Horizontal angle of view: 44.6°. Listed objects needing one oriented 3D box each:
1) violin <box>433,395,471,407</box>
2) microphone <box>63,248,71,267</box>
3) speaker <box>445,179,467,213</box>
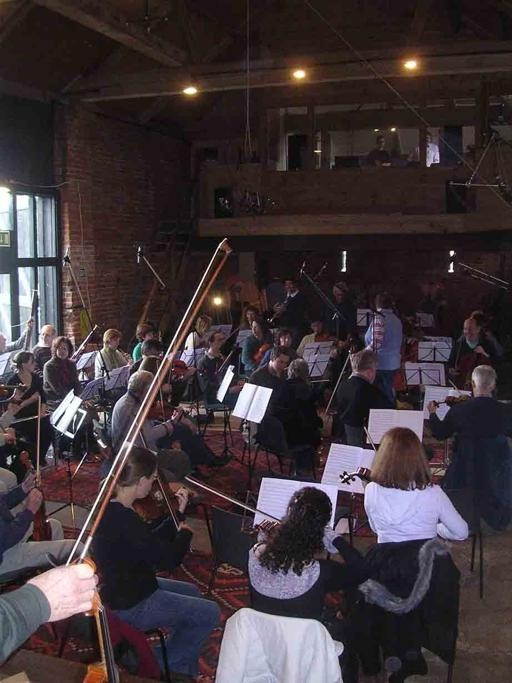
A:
[{"bbox_3d":[1.733,0.531,5.478,0.319,0.094,0.163,-13,9,-26],"label":"violin"},{"bbox_3d":[-3.424,-1.532,11.237,0.152,0.341,0.274,-1,3,-12],"label":"microphone"},{"bbox_3d":[3.922,-2.846,12.229,0.397,0.679,0.157,1,3,12],"label":"speaker"}]
